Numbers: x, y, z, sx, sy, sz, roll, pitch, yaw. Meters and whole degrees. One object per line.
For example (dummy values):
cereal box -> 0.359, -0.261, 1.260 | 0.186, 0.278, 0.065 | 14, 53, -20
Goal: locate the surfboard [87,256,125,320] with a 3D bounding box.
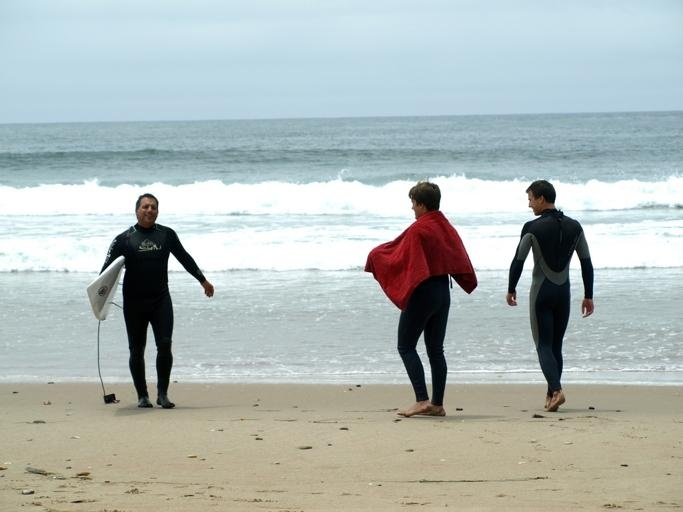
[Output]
surfboard -> -3.162, 0.461, 17.391 | 0.161, 0.881, 0.812 | 33, 43, 19

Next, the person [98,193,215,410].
person -> -2.338, 0.545, 15.928 | 1.180, 2.595, 0.975 | -1, 16, 1

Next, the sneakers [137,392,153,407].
sneakers -> -2.415, 1.793, 15.861 | 0.096, 0.096, 0.255 | 4, -16, -21

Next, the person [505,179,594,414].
person -> 2.551, 0.471, 15.723 | 1.020, 2.760, 1.063 | 1, 16, 8

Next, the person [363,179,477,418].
person -> 0.960, 0.545, 15.416 | 1.263, 2.823, 0.793 | -1, 16, 1
